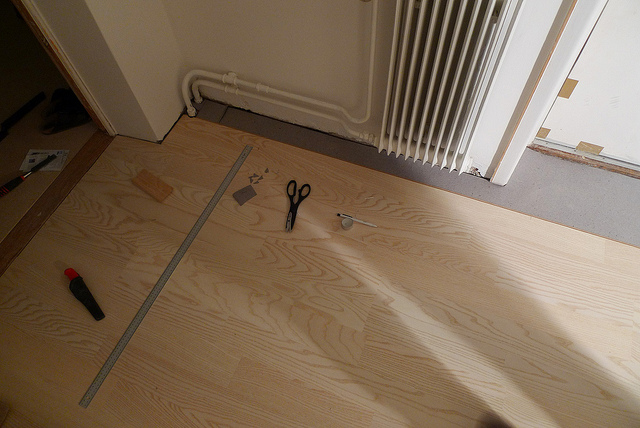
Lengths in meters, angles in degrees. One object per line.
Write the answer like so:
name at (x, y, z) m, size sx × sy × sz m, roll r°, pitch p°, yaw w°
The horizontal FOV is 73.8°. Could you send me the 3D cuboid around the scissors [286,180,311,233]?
scissors at (-0.176, -0.061, 2.869) m, size 0.141 × 0.015 × 0.343 m, roll 15°, pitch 58°, yaw 1°
